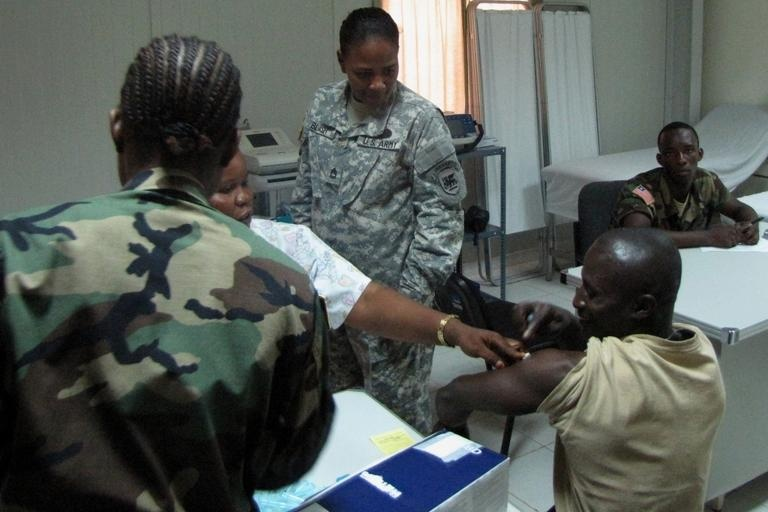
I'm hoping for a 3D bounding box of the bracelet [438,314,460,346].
[{"bbox_3d":[0.148,0.172,1.387,0.057,0.064,0.023,1,6,-37],"label":"bracelet"}]
